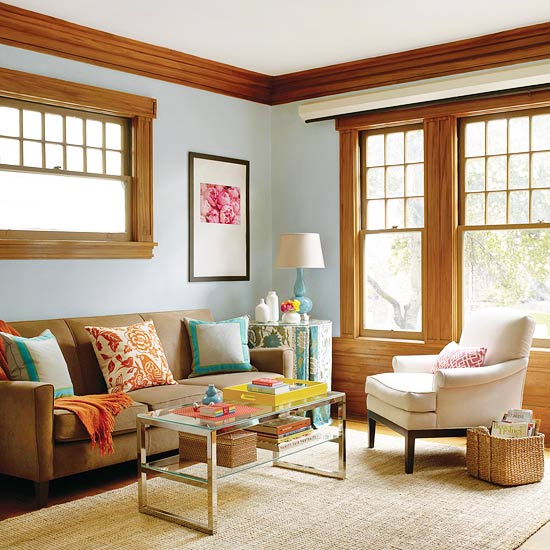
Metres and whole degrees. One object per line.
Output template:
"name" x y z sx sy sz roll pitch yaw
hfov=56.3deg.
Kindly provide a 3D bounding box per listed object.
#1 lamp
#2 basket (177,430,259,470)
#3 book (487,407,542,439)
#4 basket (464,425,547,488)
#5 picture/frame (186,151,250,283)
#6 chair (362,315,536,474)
"lamp" 0.238 -0.016 4.468 0.414 0.722 0.548 -1 -6 3
"basket" -0.299 0.785 2.409 0.281 0.113 0.201 -3 -4 37
"book" 1.343 0.833 2.871 0.360 0.079 0.356 -2 4 32
"basket" 1.278 0.952 2.858 0.348 0.293 0.329 0 -2 -30
"picture/frame" -0.500 -0.493 4.544 0.114 1.132 0.758 -6 -8 41
"chair" 1.109 0.676 3.295 0.987 0.819 0.769 0 -1 5
